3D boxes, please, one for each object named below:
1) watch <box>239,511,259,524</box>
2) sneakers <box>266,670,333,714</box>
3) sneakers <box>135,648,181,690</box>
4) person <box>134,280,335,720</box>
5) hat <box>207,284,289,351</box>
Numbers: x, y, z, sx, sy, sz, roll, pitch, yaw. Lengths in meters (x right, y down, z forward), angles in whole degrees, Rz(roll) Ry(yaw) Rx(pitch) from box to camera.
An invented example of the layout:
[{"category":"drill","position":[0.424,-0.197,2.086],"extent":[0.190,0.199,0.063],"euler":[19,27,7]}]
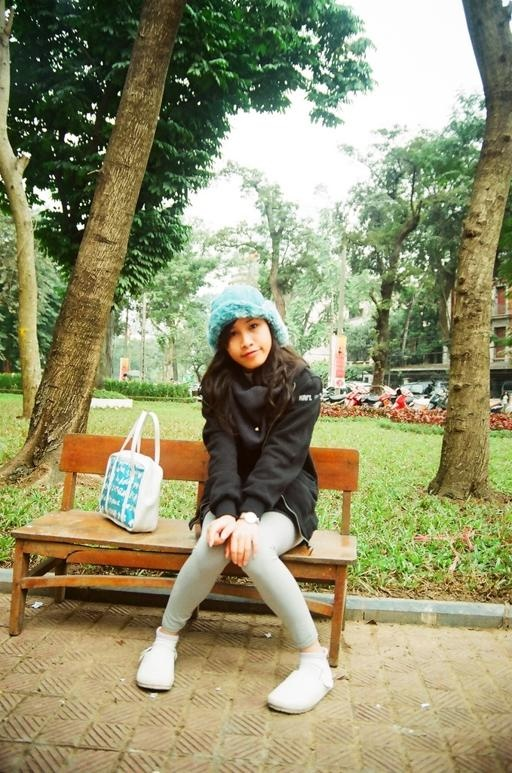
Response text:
[{"category":"watch","position":[-0.025,0.489,2.081],"extent":[0.069,0.042,0.066],"euler":[1,1,-4]},{"category":"sneakers","position":[0.154,1.063,1.991],"extent":[0.095,0.086,0.231],"euler":[-2,-10,33]},{"category":"sneakers","position":[-0.370,1.054,2.130],"extent":[0.135,0.113,0.222],"euler":[1,1,-6]},{"category":"person","position":[-0.052,0.356,2.310],"extent":[0.749,1.563,0.783],"euler":[1,2,7]},{"category":"hat","position":[-0.050,-0.304,2.496],"extent":[0.261,0.236,0.287],"euler":[-23,-40,16]}]
